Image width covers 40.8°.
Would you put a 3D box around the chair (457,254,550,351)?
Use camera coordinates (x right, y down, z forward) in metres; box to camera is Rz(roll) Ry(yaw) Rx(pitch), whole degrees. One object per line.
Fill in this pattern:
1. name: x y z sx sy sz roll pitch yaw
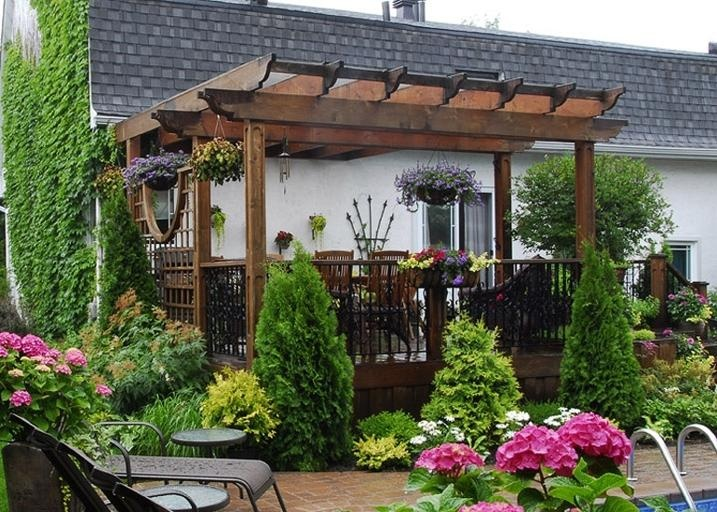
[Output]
1. chair: 2.092 0.681 13.890 1.130 1.639 1.157 1 -2 3

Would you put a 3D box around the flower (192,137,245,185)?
1. flower: -1.861 -1.252 12.661 0.652 0.642 0.679 -18 -8 43

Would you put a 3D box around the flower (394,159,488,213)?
1. flower: 1.321 -1.130 15.489 1.290 0.860 1.421 5 12 13

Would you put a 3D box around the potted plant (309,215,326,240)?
1. potted plant: -0.715 -0.495 16.615 0.335 0.467 0.345 1 -2 -14

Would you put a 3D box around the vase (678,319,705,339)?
1. vase: 5.461 1.181 15.741 0.283 0.271 0.327 1 -1 -19

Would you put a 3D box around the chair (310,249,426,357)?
1. chair: 0.211 0.659 13.355 1.010 1.260 1.734 0 2 -7

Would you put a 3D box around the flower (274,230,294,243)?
1. flower: -1.264 -0.338 16.312 0.308 0.145 0.285 -1 0 -5

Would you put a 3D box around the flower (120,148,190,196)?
1. flower: -2.942 -1.211 14.118 0.666 0.488 0.781 1 -14 -7

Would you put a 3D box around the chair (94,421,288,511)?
1. chair: -1.635 2.163 9.615 1.771 1.042 0.954 -2 8 11

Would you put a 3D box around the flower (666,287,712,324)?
1. flower: 5.401 0.811 15.815 0.516 0.441 0.555 0 1 -8
